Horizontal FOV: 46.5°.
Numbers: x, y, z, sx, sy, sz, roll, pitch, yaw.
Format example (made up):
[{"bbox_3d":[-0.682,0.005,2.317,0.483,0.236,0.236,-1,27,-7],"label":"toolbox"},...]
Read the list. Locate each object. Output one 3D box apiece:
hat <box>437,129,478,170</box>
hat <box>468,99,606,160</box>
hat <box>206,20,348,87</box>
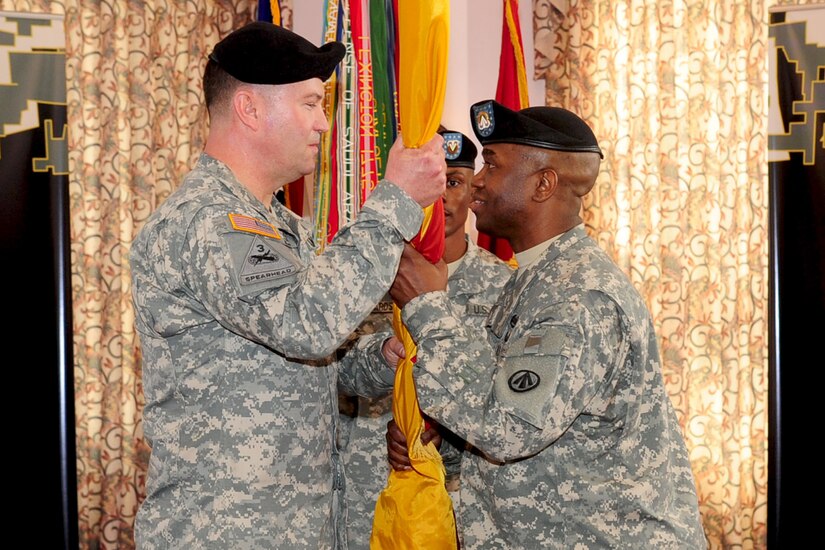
[{"bbox_3d":[0.217,-0.596,4.626,0.153,0.127,0.212,2,-16,16],"label":"hat"},{"bbox_3d":[0.446,-0.540,3.620,0.297,0.119,0.258,7,-2,1],"label":"hat"},{"bbox_3d":[-0.484,-0.840,3.499,0.320,0.138,0.262,9,19,1],"label":"hat"}]
